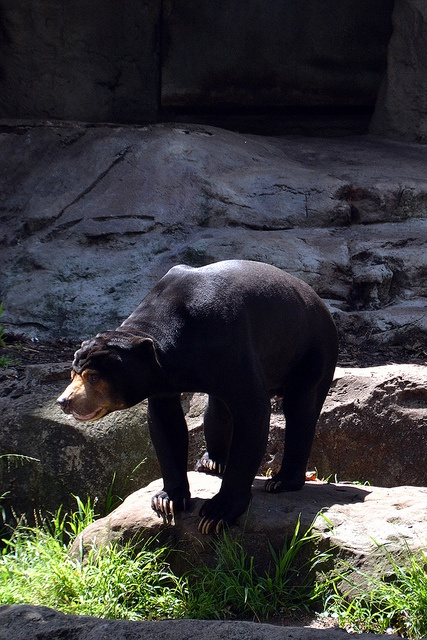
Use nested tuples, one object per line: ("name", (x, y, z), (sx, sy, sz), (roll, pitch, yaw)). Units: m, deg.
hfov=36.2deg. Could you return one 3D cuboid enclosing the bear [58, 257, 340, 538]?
("bear", (0.011, 0.304, 2.770), (0.634, 1.044, 1.369), (3, 10, 39))
